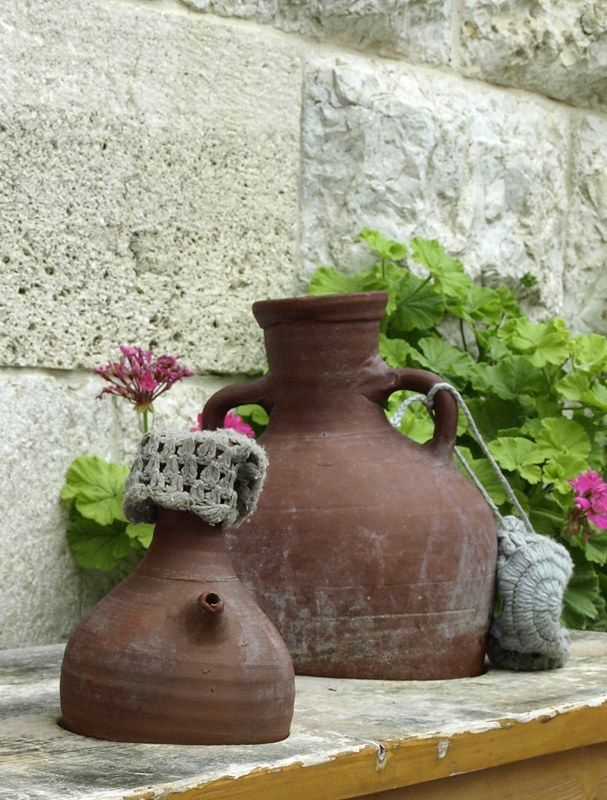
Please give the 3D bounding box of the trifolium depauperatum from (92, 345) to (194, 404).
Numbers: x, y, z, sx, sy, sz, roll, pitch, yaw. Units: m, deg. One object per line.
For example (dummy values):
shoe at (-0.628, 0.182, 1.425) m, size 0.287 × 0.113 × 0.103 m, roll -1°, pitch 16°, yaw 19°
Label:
trifolium depauperatum at (-0.247, -0.045, 1.698) m, size 0.148 × 0.123 × 0.156 m, roll 4°, pitch 28°, yaw -8°
